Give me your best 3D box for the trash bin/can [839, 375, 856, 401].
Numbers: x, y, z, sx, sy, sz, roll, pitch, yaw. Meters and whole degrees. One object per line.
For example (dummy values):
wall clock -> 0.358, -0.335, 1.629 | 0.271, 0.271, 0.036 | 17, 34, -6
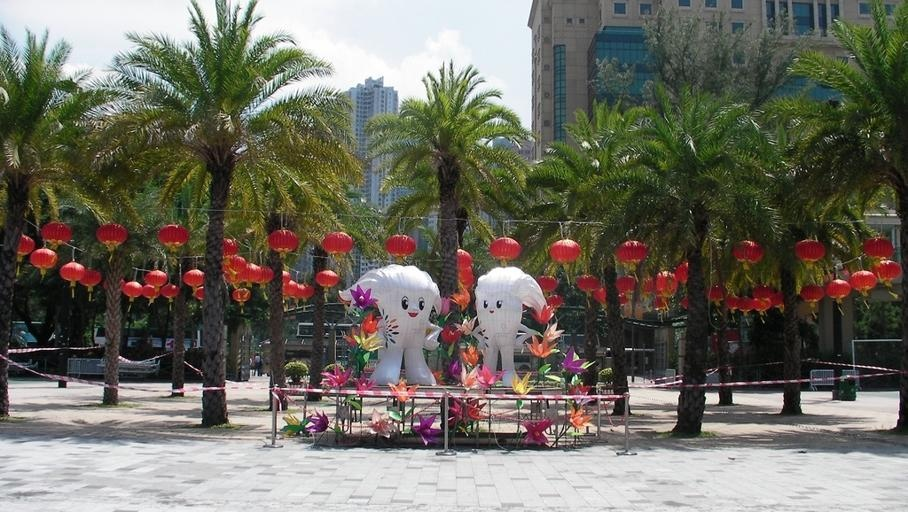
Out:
trash bin/can -> 20.691, 6.944, 53.091 | 0.790, 1.222, 1.736 | -5, -10, 33
